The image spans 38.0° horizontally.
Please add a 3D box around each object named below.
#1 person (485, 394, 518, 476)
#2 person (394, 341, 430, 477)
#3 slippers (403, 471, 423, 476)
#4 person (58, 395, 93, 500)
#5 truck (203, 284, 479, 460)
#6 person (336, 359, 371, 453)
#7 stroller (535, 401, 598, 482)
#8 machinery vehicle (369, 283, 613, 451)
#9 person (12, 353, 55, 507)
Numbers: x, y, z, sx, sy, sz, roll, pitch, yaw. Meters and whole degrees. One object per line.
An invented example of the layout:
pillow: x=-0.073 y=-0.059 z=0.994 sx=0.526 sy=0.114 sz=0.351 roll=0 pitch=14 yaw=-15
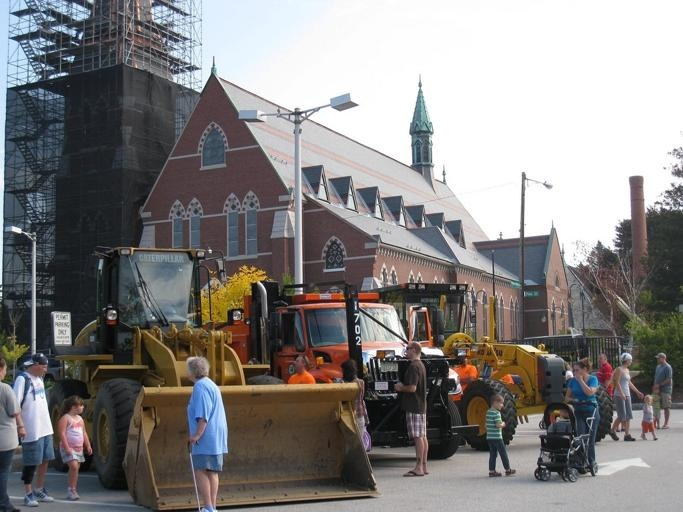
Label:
person: x=3.436 y=3.901 z=21.714 sx=0.591 sy=1.850 sz=0.609 roll=-3 pitch=-8 yaw=14
person: x=1.563 y=3.335 z=21.964 sx=0.565 sy=2.906 sz=0.478 roll=-1 pitch=-4 yaw=1
slippers: x=1.551 y=4.757 z=21.777 sx=0.346 sy=0.107 sz=0.165 roll=4 pitch=-11 yaw=-6
person: x=-5.572 y=3.825 z=20.603 sx=0.600 sy=2.301 sz=0.550 roll=4 pitch=-9 yaw=-25
truck: x=-0.142 y=2.844 z=25.677 sx=3.732 sy=4.254 sz=7.299 roll=5 pitch=-12 yaw=-38
person: x=0.274 y=3.063 z=21.220 sx=0.528 sy=2.117 sz=0.504 roll=-5 pitch=-8 yaw=20
stroller: x=4.841 y=4.029 z=21.446 sx=1.578 sy=1.461 sz=0.805 roll=2 pitch=-5 yaw=-33
machinery vehicle: x=3.951 y=2.785 z=27.793 sx=3.276 sy=4.467 sz=5.898 roll=4 pitch=-4 yaw=-43
person: x=-6.250 y=3.453 z=20.216 sx=0.646 sy=2.962 sz=0.975 roll=2 pitch=-6 yaw=-9
